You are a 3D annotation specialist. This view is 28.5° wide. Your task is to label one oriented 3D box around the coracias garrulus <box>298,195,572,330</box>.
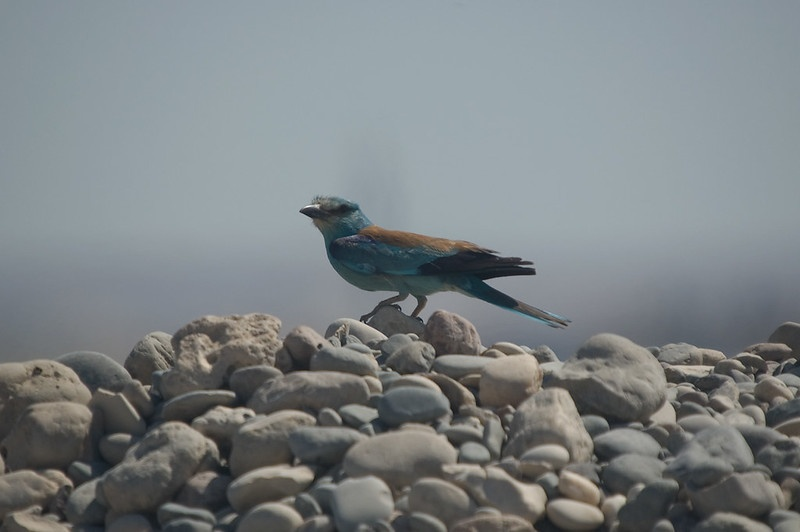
[{"bbox_3d":[0.103,-0.031,12.284,1.782,0.909,0.593,4,9,32],"label":"coracias garrulus"}]
